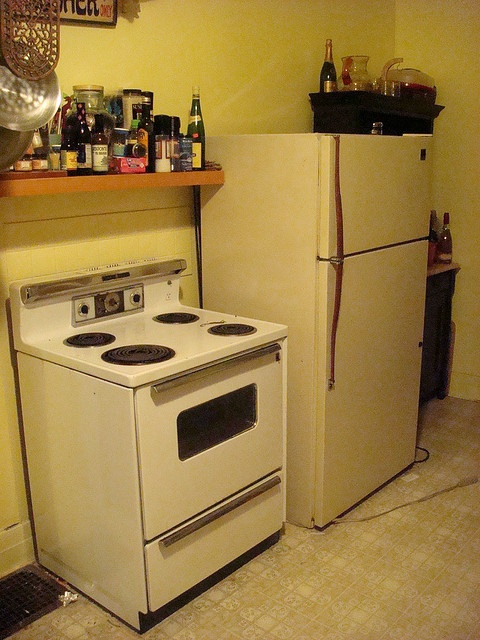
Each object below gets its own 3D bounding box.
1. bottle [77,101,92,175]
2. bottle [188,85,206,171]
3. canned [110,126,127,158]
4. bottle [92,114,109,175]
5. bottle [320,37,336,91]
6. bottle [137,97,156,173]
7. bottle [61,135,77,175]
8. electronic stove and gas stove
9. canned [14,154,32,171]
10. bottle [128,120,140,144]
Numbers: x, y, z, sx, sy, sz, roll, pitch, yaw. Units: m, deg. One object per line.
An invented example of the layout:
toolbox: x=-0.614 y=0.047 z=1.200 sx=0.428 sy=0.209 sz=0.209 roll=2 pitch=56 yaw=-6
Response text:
bottle: x=-0.456 y=-0.529 z=1.552 sx=0.043 sy=0.212 sz=0.138 roll=-2 pitch=8 yaw=-14
bottle: x=-0.163 y=-0.707 z=1.978 sx=0.063 sy=0.316 sz=0.197 roll=-1 pitch=8 yaw=-5
canned: x=-0.382 y=-0.557 z=1.674 sx=0.058 sy=0.096 sz=0.061 roll=-2 pitch=8 yaw=-14
bottle: x=-0.421 y=-0.526 z=1.602 sx=0.051 sy=0.177 sz=0.120 roll=-2 pitch=8 yaw=-14
bottle: x=0.448 y=-1.270 z=2.674 sx=0.086 sy=0.299 sz=0.242 roll=1 pitch=8 yaw=7
bottle: x=-0.307 y=-0.606 z=1.734 sx=0.042 sy=0.235 sz=0.085 roll=2 pitch=8 yaw=18
bottle: x=-0.486 y=-0.463 z=1.508 sx=0.042 sy=0.102 sz=0.045 roll=0 pitch=8 yaw=0
electronic stove and gas stove: x=-0.242 y=0.047 z=1.679 sx=0.432 sy=0.059 sz=0.570 roll=6 pitch=10 yaw=41
canned: x=-0.573 y=-0.420 z=1.411 sx=0.050 sy=0.033 sz=0.050 roll=-3 pitch=17 yaw=-6
bottle: x=-0.344 y=-0.610 z=1.718 sx=0.039 sy=0.088 sz=0.062 roll=-2 pitch=8 yaw=-8
